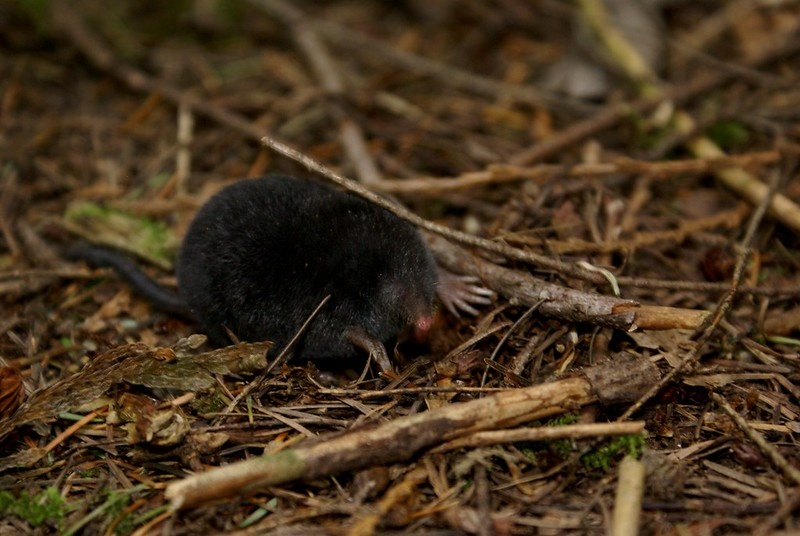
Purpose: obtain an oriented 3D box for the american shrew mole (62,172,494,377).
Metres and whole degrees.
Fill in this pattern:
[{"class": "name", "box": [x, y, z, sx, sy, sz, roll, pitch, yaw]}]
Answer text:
[{"class": "american shrew mole", "box": [-0.629, 0.037, 4.980, 2.281, 0.916, 1.067, -2, 51, 12]}]
